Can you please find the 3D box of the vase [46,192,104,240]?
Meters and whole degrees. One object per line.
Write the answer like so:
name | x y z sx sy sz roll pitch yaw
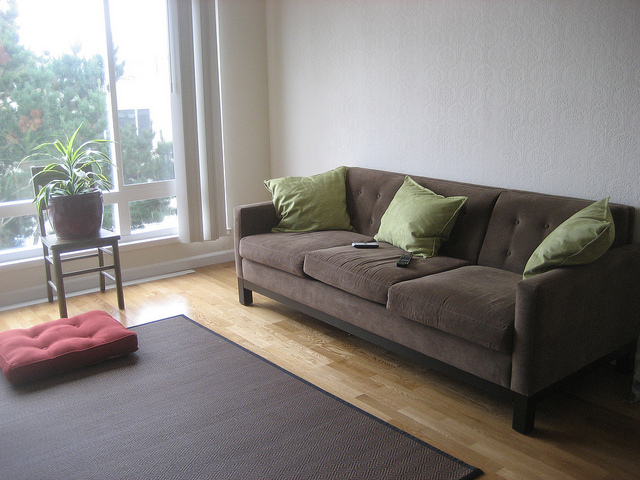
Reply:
vase | -1.765 -0.186 3.792 0.338 0.283 0.380 3 8 25

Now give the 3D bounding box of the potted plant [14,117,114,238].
potted plant | -1.871 -0.394 3.855 0.585 0.765 0.613 -9 10 -37

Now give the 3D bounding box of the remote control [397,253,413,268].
remote control | 0.532 0.128 3.219 0.051 0.029 0.122 4 19 22

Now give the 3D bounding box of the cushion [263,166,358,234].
cushion | -0.048 -0.307 4.125 0.592 0.458 0.232 -4 -27 0

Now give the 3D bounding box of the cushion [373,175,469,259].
cushion | 0.662 -0.159 3.590 0.332 0.444 0.650 -5 17 -25

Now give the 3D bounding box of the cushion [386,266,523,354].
cushion | 0.814 0.309 2.887 0.733 0.322 0.528 11 21 41

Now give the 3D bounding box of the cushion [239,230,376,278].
cushion | -0.029 0.054 4.038 1.007 0.235 0.962 -9 11 -39
